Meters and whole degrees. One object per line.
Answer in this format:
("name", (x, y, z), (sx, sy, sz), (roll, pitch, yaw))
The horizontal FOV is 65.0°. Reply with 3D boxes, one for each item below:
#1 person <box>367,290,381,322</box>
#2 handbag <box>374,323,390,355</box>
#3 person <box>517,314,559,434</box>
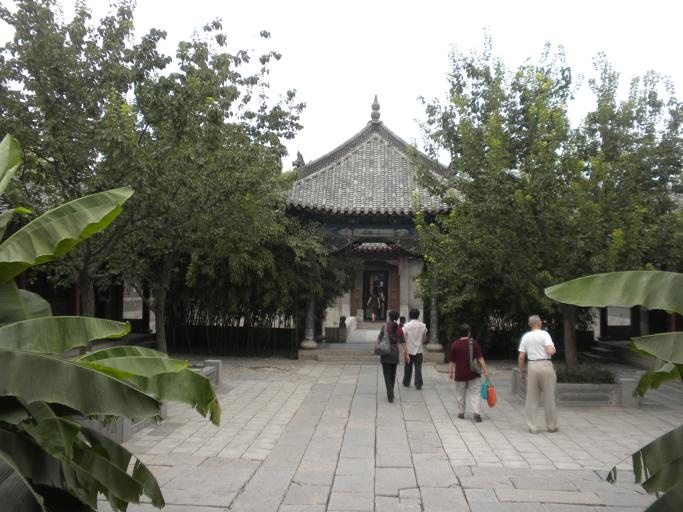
("person", (1.574, 2.455, 26.407), (0.742, 1.460, 2.240), (-1, -6, 3))
("handbag", (0.785, 1.615, 10.195), (0.292, 0.583, 0.361), (-1, -5, 1))
("person", (3.169, 1.861, 8.673), (0.563, 1.773, 1.142), (-3, -6, 20))
